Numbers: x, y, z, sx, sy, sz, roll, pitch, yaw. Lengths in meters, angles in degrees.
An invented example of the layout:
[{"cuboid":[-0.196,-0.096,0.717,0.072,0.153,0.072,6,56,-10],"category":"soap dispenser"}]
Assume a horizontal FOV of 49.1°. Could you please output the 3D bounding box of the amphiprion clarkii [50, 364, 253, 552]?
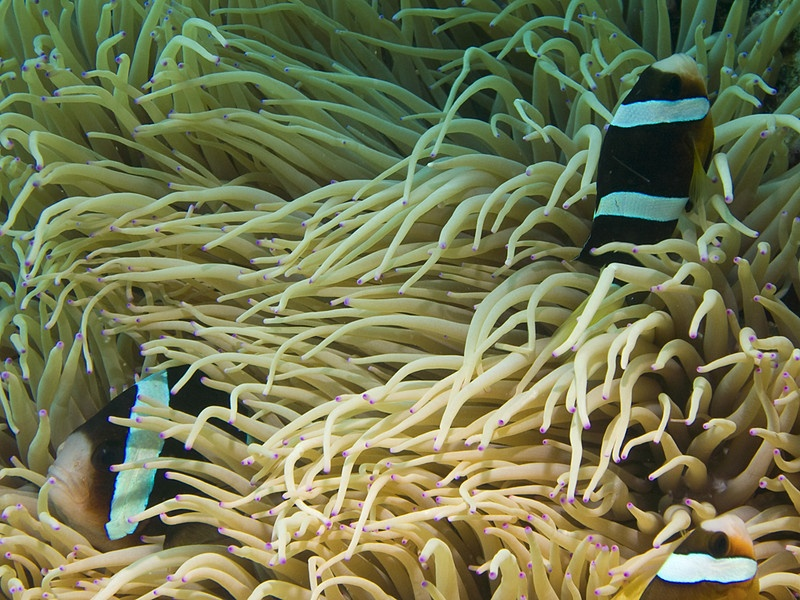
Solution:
[{"cuboid":[-0.393,0.239,1.321,0.260,0.204,0.214,0,33,-5],"category":"amphiprion clarkii"}]
